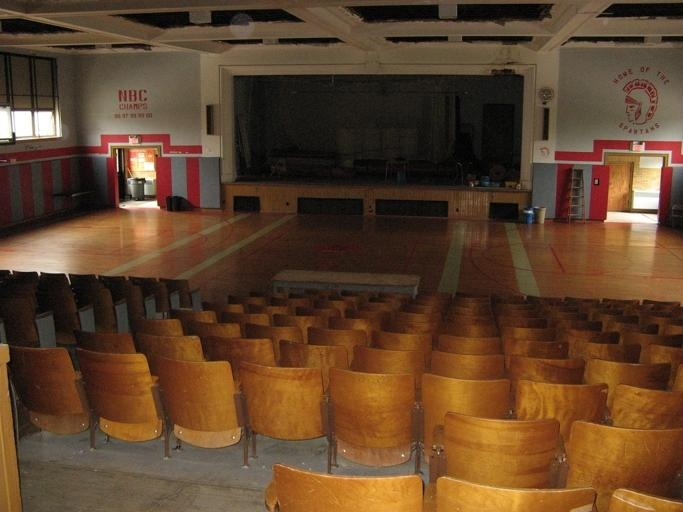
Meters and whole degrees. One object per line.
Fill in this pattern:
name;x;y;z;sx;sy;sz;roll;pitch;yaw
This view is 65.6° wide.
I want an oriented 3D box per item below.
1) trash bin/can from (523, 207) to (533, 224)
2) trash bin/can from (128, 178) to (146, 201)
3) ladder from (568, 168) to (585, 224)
trash bin/can;6.335;-1.359;17.808;0.410;0.524;0.241;-6;16;-11
trash bin/can;-8.519;-2.802;22.218;0.682;0.953;0.439;-8;16;-16
ladder;8.021;-2.133;18.198;0.719;1.775;0.405;-7;17;-13
